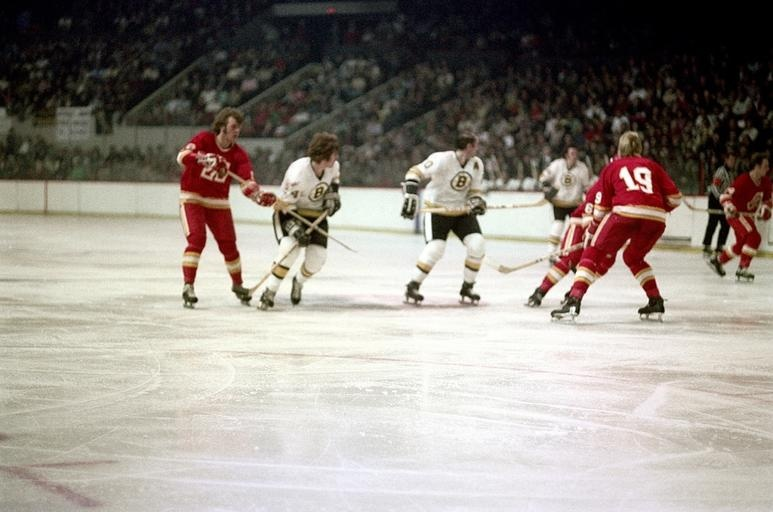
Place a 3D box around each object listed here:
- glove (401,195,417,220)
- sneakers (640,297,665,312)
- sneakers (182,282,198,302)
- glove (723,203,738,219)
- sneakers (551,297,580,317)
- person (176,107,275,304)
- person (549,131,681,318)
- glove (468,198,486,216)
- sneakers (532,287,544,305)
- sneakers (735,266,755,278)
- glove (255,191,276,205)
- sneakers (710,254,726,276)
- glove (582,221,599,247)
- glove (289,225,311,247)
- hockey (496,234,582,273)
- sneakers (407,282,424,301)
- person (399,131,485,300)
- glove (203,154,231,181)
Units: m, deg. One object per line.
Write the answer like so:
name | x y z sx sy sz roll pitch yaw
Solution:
glove | 0.239 -0.502 8.395 0.181 0.226 0.095 7 3 10
sneakers | 2.534 0.471 7.756 0.234 0.131 0.122 1 -2 17
sneakers | -1.883 0.366 7.803 0.128 0.220 0.236 3 7 -14
glove | 4.553 -0.581 10.747 0.157 0.198 0.321 7 7 22
sneakers | 1.658 0.483 7.490 0.252 0.219 0.157 5 7 7
person | -1.602 -0.465 7.879 0.829 1.905 0.591 3 7 -10
person | 2.184 -0.301 7.683 1.074 1.762 0.496 2 7 -17
glove | 0.940 -0.515 8.363 0.169 0.182 0.236 5 7 5
sneakers | 1.529 0.419 8.249 0.142 0.179 0.078 5 7 9
sneakers | 4.627 0.235 10.477 0.214 0.158 0.277 7 7 22
glove | -1.148 -0.548 7.809 0.200 0.146 0.286 6 7 12
sneakers | 4.399 0.150 10.825 0.142 0.321 0.141 -31 7 23
glove | 1.975 -0.212 7.882 0.074 0.203 0.212 20 -2 7
glove | -0.827 -0.198 7.867 0.164 0.107 0.216 1 8 -34
hockey | 2.106 -0.023 11.243 0.215 0.337 1.432 14 -23 -25
sneakers | 0.285 0.372 8.280 0.173 0.221 0.156 5 7 1
person | 0.617 -0.395 8.472 0.920 1.753 0.731 5 7 0
glove | -1.599 -0.833 7.715 0.238 0.243 0.367 3 7 -12
